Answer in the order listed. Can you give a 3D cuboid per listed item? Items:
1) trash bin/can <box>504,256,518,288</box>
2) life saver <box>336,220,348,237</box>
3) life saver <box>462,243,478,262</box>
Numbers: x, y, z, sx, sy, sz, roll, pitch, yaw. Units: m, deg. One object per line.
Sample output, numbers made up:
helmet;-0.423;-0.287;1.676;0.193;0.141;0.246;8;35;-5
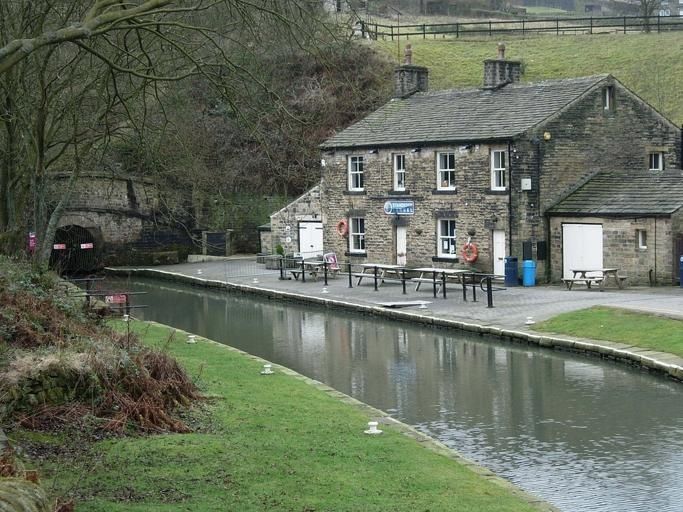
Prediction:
trash bin/can;6.232;0.531;38.893;0.515;1.034;0.431;3;11;-1
life saver;0.038;-1.240;45.939;0.256;0.799;0.599;-5;13;-35
life saver;4.970;-0.168;40.678;0.315;0.732;0.682;-3;13;-29
